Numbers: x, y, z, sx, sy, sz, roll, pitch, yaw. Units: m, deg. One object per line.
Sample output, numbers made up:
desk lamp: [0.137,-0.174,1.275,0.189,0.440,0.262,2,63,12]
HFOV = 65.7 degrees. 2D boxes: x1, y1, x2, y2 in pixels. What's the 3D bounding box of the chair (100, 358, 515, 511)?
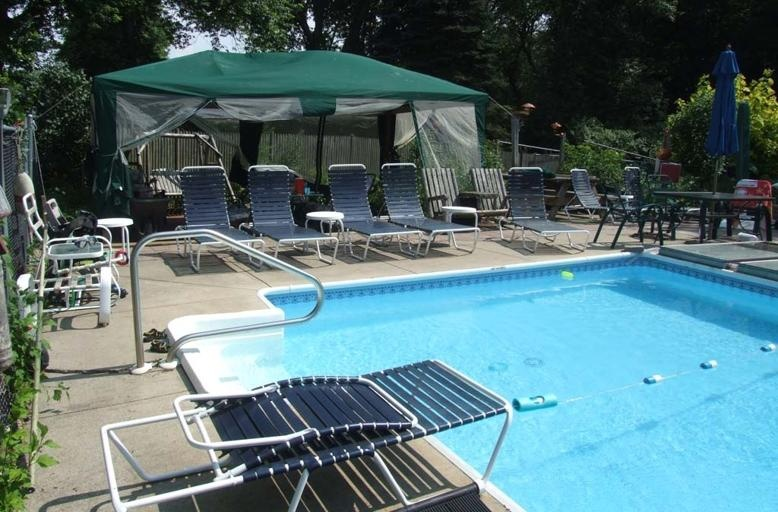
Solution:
chair: [-0.506,1.158,4.356,2.584,0.842,0.949,-8,22,-24]
